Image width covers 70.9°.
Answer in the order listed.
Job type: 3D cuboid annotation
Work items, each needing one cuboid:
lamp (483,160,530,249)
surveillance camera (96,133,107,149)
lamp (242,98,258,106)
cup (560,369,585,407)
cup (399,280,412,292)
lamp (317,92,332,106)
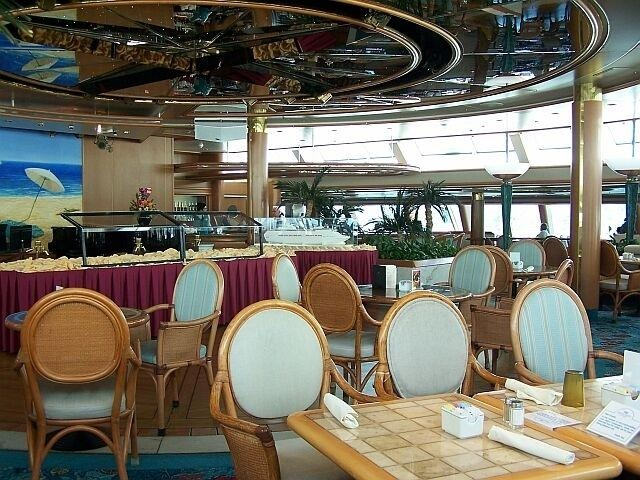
[{"bbox_3d":[3.447,-0.500,8.063,0.984,1.520,0.863,1,8,15],"label":"lamp"},{"bbox_3d":[-4.918,-2.200,9.962,0.195,0.261,0.386,-2,6,-22],"label":"surveillance camera"},{"bbox_3d":[-1.441,-2.849,9.262,0.268,0.200,0.058,7,-4,9],"label":"lamp"},{"bbox_3d":[0.987,0.554,1.707,0.077,0.142,0.129,4,7,31],"label":"cup"},{"bbox_3d":[0.702,0.373,3.643,0.115,0.072,0.100,0,-7,-6],"label":"cup"},{"bbox_3d":[0.142,-2.554,8.186,0.283,0.232,0.097,12,3,29],"label":"lamp"}]
